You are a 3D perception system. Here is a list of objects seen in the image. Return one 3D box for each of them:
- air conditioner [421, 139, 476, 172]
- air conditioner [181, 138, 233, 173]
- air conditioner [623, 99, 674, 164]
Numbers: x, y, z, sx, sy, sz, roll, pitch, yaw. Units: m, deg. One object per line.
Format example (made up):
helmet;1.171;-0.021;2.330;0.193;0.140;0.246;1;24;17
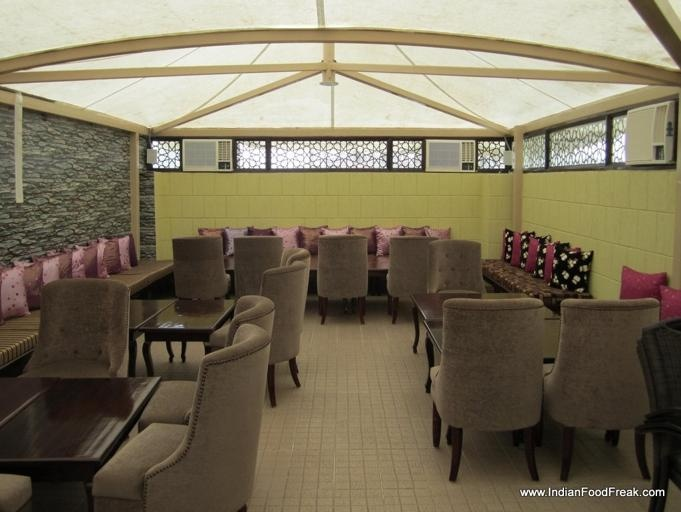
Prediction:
air conditioner;2.036;-1.836;9.387;0.910;0.586;0.527;8;25;27
air conditioner;-2.378;-1.752;9.319;0.871;0.569;0.483;-1;1;-6
air conditioner;3.025;-1.194;5.065;0.276;0.615;0.761;-1;5;-1
